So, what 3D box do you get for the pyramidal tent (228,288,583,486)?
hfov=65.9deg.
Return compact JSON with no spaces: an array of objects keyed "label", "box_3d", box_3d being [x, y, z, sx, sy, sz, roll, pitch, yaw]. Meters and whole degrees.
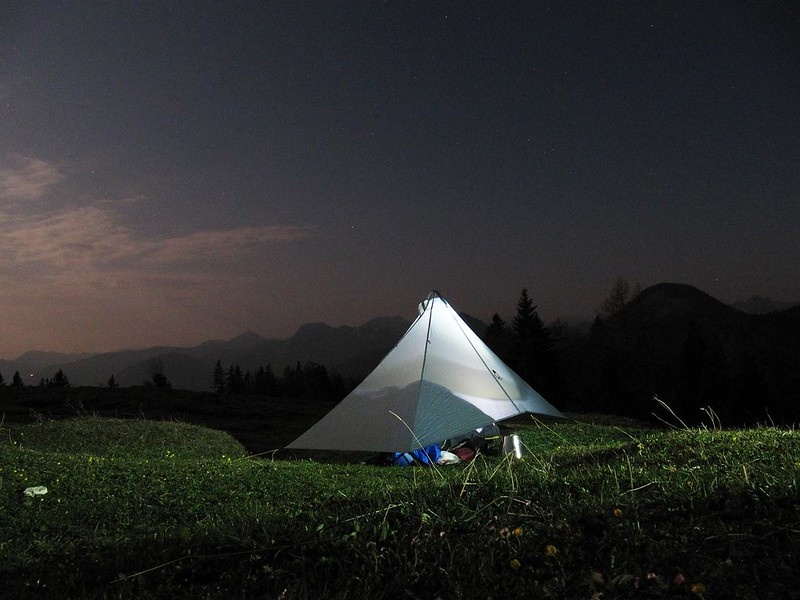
[{"label":"pyramidal tent","box_3d":[0.419,1.467,9.489,3.352,1.877,3.521,-5,-11,21]}]
